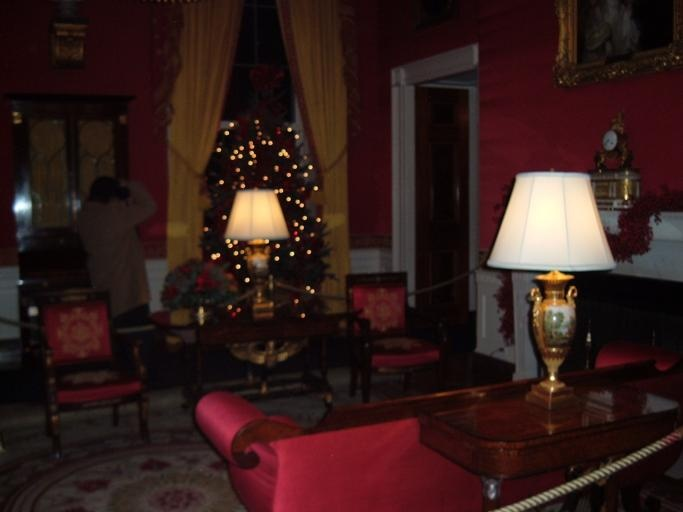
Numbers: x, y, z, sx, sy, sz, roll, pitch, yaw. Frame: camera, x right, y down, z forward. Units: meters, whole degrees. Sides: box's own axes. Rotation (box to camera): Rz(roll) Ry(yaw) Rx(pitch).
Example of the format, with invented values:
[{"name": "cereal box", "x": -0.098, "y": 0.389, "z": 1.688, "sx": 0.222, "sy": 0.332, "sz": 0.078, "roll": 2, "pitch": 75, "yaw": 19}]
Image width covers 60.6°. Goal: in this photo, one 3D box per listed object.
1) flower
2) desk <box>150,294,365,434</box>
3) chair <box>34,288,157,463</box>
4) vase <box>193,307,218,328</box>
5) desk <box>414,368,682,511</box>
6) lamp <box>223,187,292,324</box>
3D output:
[{"name": "flower", "x": -1.234, "y": 0.263, "z": 4.959, "sx": 0.508, "sy": 0.386, "sz": 0.514, "roll": 2, "pitch": -3, "yaw": -5}, {"name": "desk", "x": -0.667, "y": 0.699, "z": 4.836, "sx": 1.534, "sy": 0.833, "sz": 0.862, "roll": -2, "pitch": 12, "yaw": -13}, {"name": "chair", "x": -1.821, "y": 0.829, "z": 4.325, "sx": 0.696, "sy": 1.076, "sz": 0.678, "roll": -4, "pitch": 9, "yaw": -29}, {"name": "vase", "x": -1.039, "y": 0.478, "z": 4.537, "sx": 0.153, "sy": 0.124, "sz": 0.153, "roll": 4, "pitch": -5, "yaw": -37}, {"name": "desk", "x": 0.968, "y": 0.858, "z": 2.680, "sx": 0.782, "sy": 0.432, "sz": 0.307, "roll": -6, "pitch": 14, "yaw": -26}, {"name": "lamp", "x": -0.648, "y": -0.041, "z": 4.689, "sx": 0.475, "sy": 0.992, "sz": 0.486, "roll": 2, "pitch": 8, "yaw": 19}]
